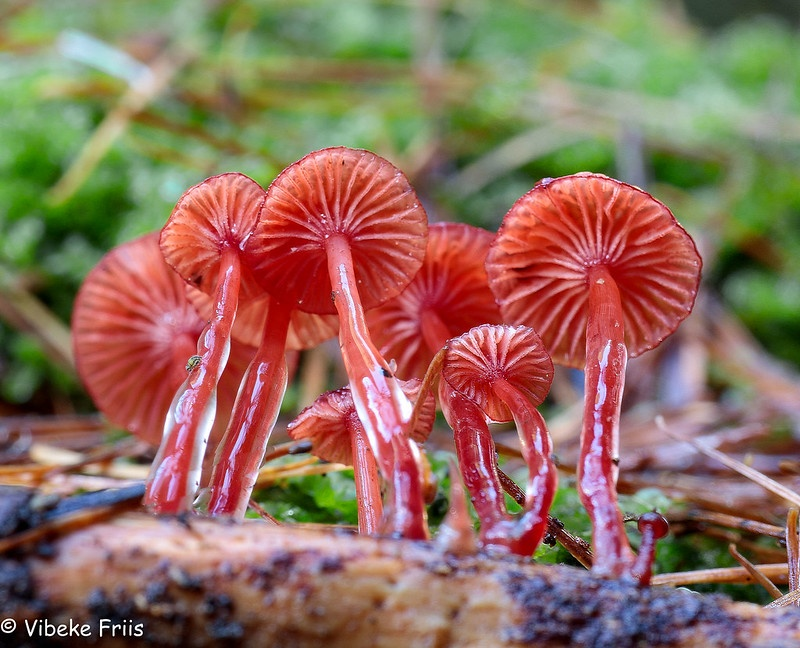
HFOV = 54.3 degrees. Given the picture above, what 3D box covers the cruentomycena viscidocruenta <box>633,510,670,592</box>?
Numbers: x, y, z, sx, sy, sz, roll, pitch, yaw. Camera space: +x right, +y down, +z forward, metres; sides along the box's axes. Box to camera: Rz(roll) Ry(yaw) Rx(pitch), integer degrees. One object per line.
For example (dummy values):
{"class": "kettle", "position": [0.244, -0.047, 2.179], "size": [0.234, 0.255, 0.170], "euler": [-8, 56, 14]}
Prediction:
{"class": "cruentomycena viscidocruenta", "position": [0.531, 0.477, 1.669], "size": [0.072, 0.072, 0.171], "euler": [-15, 36, 42]}
